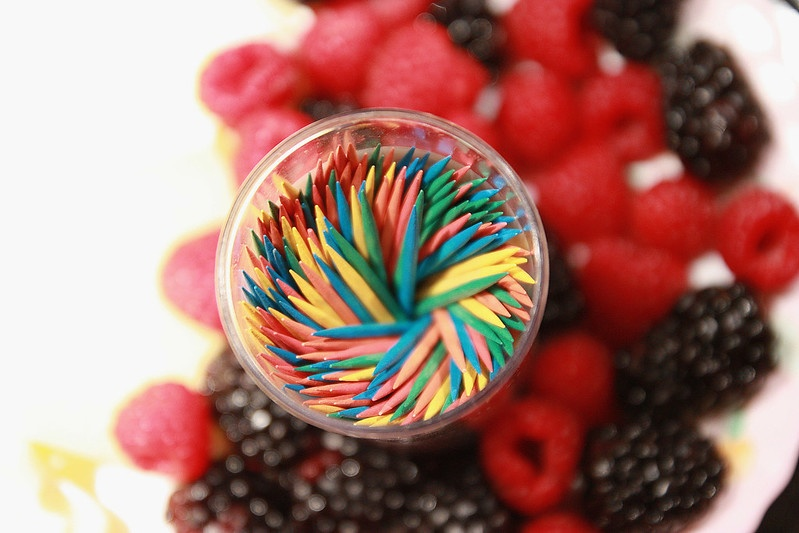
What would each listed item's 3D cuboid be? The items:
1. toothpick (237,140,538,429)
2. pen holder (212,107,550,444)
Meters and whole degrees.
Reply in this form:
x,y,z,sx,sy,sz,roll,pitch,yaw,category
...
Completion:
x,y,z,sx,sy,sz,roll,pitch,yaw,category
-0.014,0.016,0.713,0.222,0.186,0.244,-2,91,0,toothpick
-0.048,-0.040,0.823,0.225,0.221,0.207,44,75,-6,pen holder
